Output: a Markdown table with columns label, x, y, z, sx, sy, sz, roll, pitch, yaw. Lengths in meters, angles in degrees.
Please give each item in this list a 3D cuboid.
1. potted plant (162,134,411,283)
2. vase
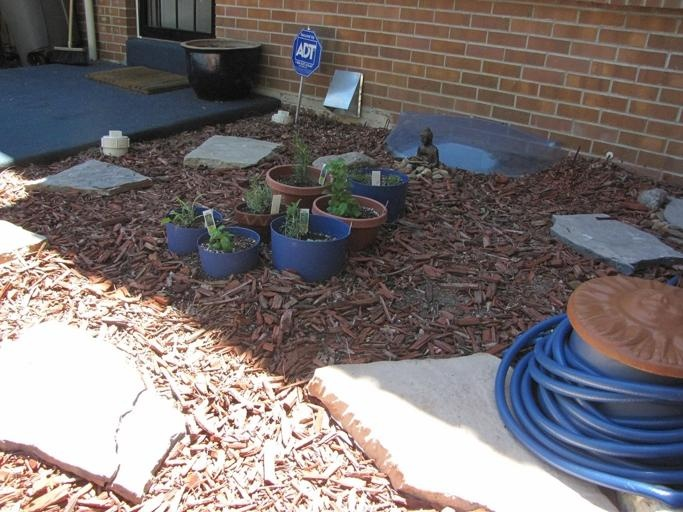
| label | x | y | z | sx | sy | sz | roll | pitch | yaw |
| --- | --- | --- | --- | --- | --- | --- | --- | --- | --- |
| potted plant | 0.082 | -0.280 | 3.263 | 0.885 | 0.349 | 1.278 | 25 | 34 | 37 |
| vase | -1.492 | -2.256 | 5.985 | 1.082 | 0.447 | 0.811 | -3 | 26 | -5 |
